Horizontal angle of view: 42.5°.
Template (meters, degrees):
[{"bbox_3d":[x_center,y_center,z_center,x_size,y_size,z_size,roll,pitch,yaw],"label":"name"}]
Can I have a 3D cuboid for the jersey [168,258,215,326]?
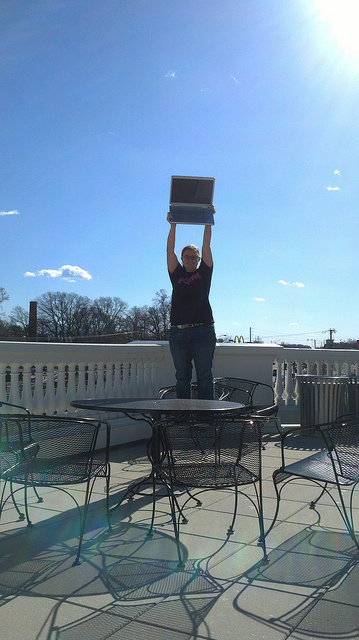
[{"bbox_3d":[0.117,-0.275,4.656,0.445,0.658,0.187,-1,-6,5],"label":"jersey"}]
